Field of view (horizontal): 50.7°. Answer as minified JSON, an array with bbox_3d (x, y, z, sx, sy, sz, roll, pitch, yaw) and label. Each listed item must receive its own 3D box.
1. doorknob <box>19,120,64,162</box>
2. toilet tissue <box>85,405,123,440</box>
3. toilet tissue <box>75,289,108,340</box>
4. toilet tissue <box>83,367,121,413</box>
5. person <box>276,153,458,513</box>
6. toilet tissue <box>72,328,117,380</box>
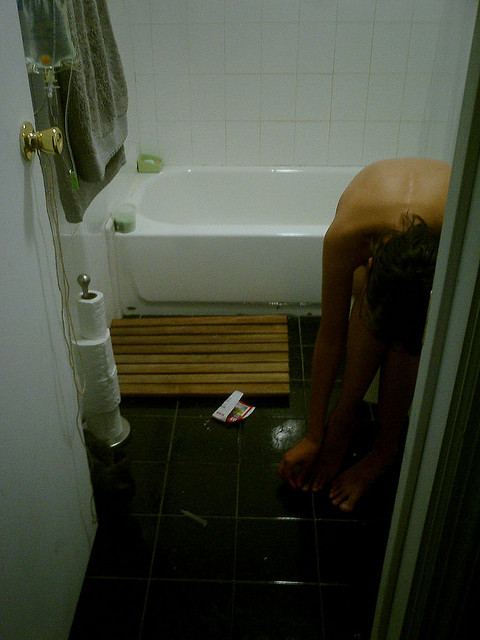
[{"bbox_3d":[-0.248,-0.229,0.658,0.041,0.057,0.062,-1,25,5],"label":"doorknob"},{"bbox_3d":[-0.359,0.282,1.393,0.086,0.104,0.095,5,39,3],"label":"toilet tissue"},{"bbox_3d":[-0.369,-0.010,1.251,0.067,0.117,0.073,6,32,6],"label":"toilet tissue"},{"bbox_3d":[-0.346,0.192,1.318,0.092,0.107,0.101,-5,32,-10],"label":"toilet tissue"},{"bbox_3d":[0.280,0.057,1.172,0.265,0.800,0.360,14,36,21],"label":"person"},{"bbox_3d":[-0.366,0.106,1.307,0.113,0.138,0.119,7,20,23],"label":"toilet tissue"}]
